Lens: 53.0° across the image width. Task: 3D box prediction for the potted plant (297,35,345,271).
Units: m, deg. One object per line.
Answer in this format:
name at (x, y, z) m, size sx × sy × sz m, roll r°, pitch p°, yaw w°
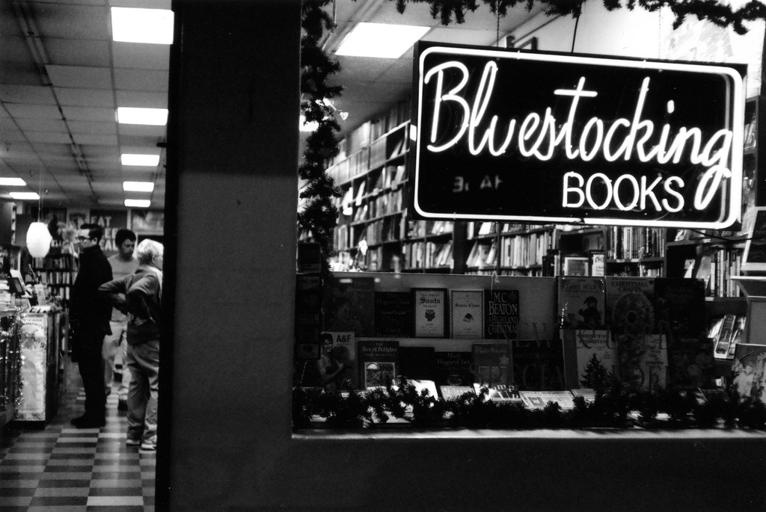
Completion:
potted plant at (-0.357, -0.535, 4.132) m, size 0.179 × 1.221 × 0.399 m, roll -4°, pitch -9°, yaw 27°
